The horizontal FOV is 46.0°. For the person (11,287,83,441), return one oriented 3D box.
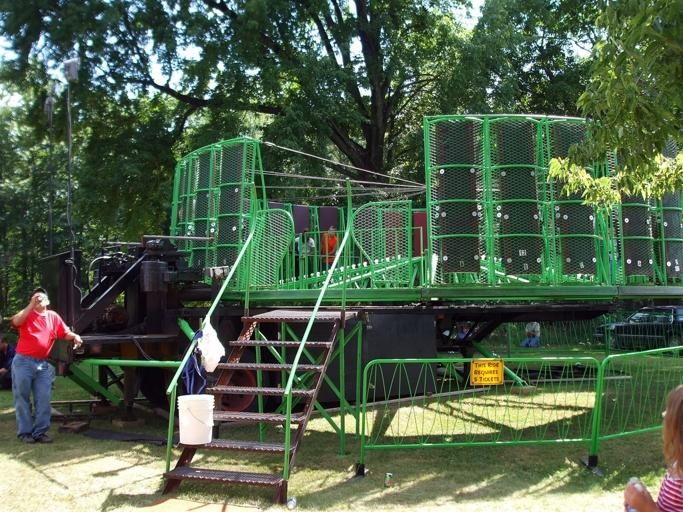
[{"bbox_3d":[-5.240,1.859,13.942,0.940,2.659,0.997,4,-8,-19],"label":"person"}]

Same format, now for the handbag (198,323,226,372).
[{"bbox_3d":[-2.083,1.416,12.707,0.394,0.788,0.881,3,-8,-10],"label":"handbag"}]

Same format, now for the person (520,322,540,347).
[{"bbox_3d":[7.038,2.941,29.880,0.710,0.947,1.578,0,-8,13],"label":"person"}]

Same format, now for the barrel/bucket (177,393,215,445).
[{"bbox_3d":[-2.126,2.384,11.724,0.630,0.631,0.629,-1,-9,0],"label":"barrel/bucket"}]

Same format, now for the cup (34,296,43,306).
[{"bbox_3d":[-5.150,0.757,13.599,0.062,0.160,0.093,-4,-10,42],"label":"cup"}]
